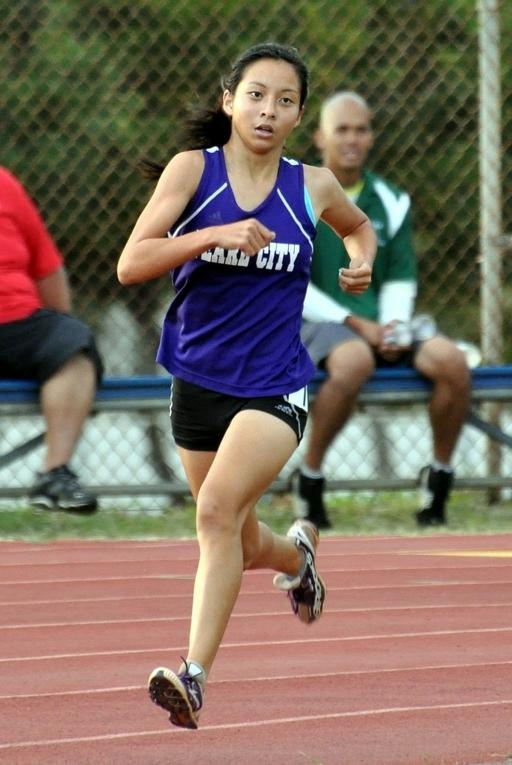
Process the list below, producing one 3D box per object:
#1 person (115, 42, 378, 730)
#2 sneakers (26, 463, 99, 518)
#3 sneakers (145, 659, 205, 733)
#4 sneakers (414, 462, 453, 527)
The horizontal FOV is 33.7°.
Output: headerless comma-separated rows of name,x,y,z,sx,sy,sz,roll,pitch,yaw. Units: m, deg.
person,-0.028,-0.044,1.851,0.445,1.430,0.951,0,2,22
sneakers,-0.668,0.385,2.962,0.254,0.111,0.135,4,-3,36
sneakers,-0.136,0.547,1.489,0.091,0.140,0.154,-1,1,2
sneakers,0.742,0.464,3.535,0.136,0.262,0.179,-1,2,0
